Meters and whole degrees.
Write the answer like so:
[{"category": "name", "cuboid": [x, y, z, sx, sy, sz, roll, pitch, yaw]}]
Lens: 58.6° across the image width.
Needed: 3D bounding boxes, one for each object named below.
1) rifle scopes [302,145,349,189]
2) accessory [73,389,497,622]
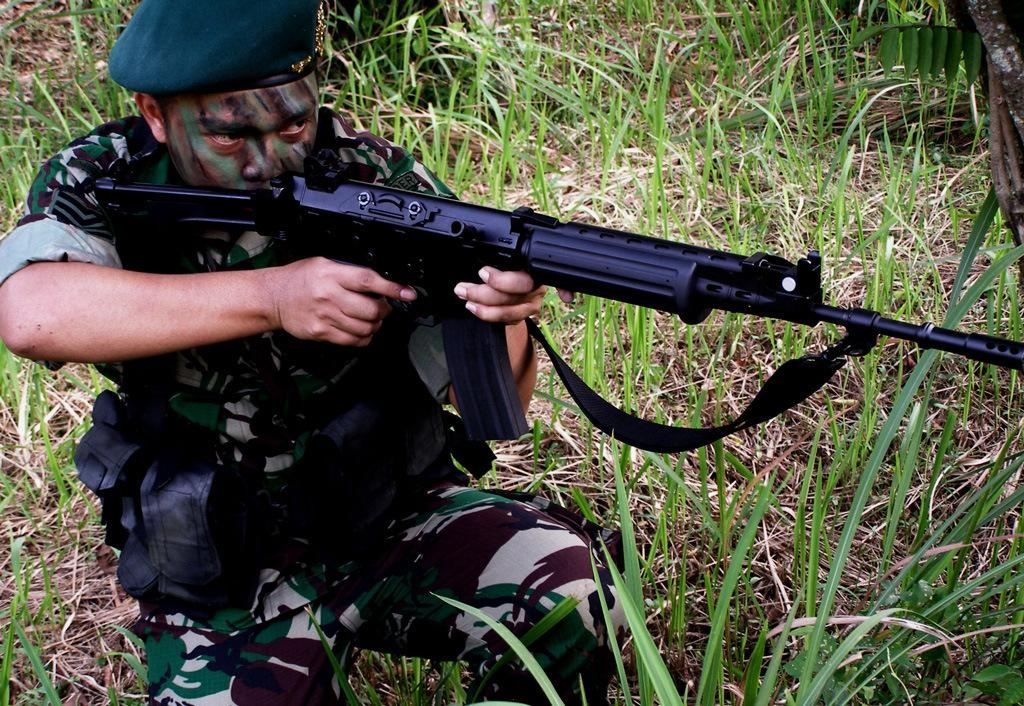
[{"category": "rifle scopes", "cuboid": [-0.584, -0.591, 2.937, 0.123, 0.140, 0.144, 18, 35, 17]}, {"category": "accessory", "cuboid": [-0.942, 0.496, 3.085, 0.899, 0.981, 0.461, 2, 5, 2]}]
